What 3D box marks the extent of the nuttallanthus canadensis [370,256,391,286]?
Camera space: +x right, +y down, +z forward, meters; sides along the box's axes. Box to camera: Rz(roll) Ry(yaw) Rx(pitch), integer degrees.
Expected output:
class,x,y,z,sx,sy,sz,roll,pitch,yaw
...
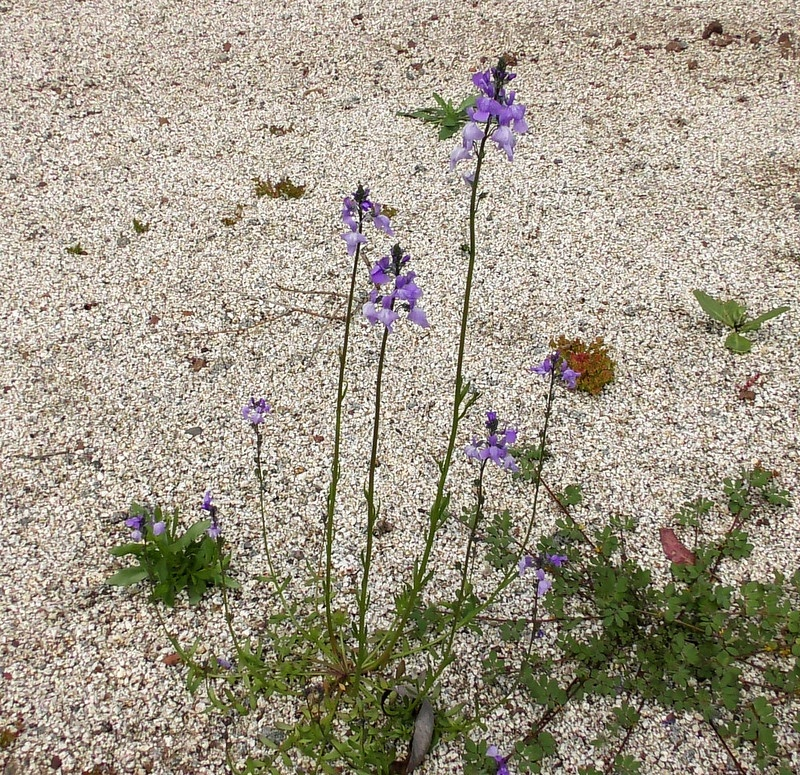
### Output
class,x,y,z,sx,sy,sz,roll,pitch,yaw
nuttallanthus canadensis,-0.104,-0.591,5.915,0.105,0.206,0.129,-2,55,-2
